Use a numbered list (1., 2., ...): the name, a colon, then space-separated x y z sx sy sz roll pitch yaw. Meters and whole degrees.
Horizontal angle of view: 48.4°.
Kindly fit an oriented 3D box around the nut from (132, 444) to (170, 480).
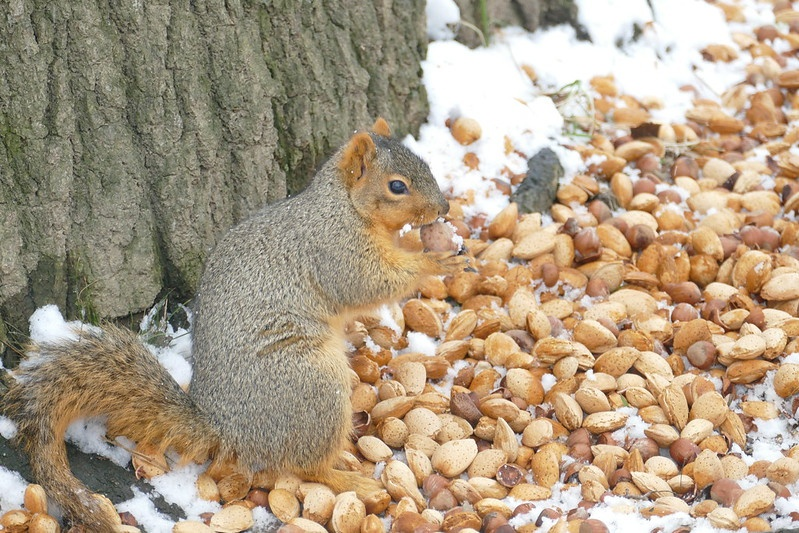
1. nut: -1.574 1.234 5.631 0.210 0.156 0.159 -10 35 2

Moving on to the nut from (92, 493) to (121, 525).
1. nut: -1.752 1.454 5.378 0.044 0.197 0.130 -35 -4 14
